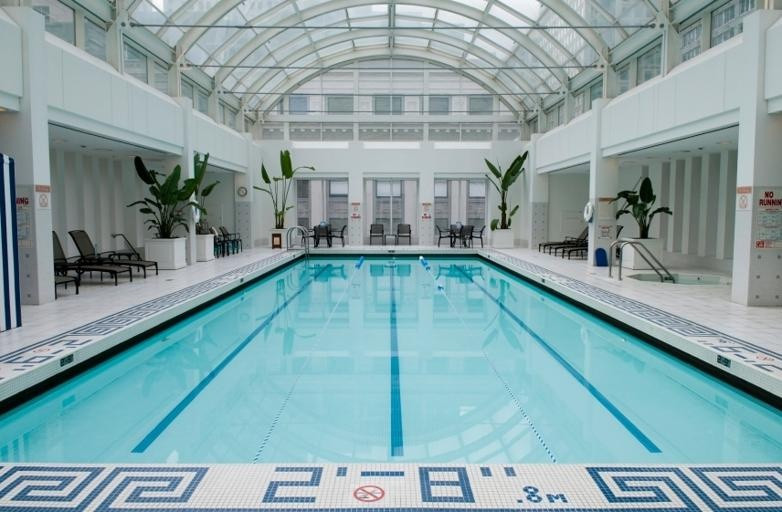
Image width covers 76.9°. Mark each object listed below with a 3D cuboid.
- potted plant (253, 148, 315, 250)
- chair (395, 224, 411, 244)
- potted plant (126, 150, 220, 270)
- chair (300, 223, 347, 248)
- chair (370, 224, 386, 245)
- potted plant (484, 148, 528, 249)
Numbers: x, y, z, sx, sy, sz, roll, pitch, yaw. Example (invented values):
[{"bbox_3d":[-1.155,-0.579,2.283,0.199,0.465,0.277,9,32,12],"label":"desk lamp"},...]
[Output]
[{"bbox_3d":[-4.093,-2.003,19.063,1.846,3.399,2.488,1,5,25],"label":"potted plant"},{"bbox_3d":[0.503,-0.922,20.693,0.728,1.131,0.794,0,-1,1],"label":"chair"},{"bbox_3d":[-5.860,-1.331,13.600,1.625,2.873,3.263,-5,13,-22],"label":"potted plant"},{"bbox_3d":[-2.576,-0.863,19.617,1.201,0.667,1.275,0,0,0],"label":"chair"},{"bbox_3d":[-0.579,-0.890,20.649,0.726,1.296,0.813,0,-1,-1],"label":"chair"},{"bbox_3d":[4.304,-2.094,18.844,1.522,3.760,2.164,2,12,11],"label":"potted plant"}]
